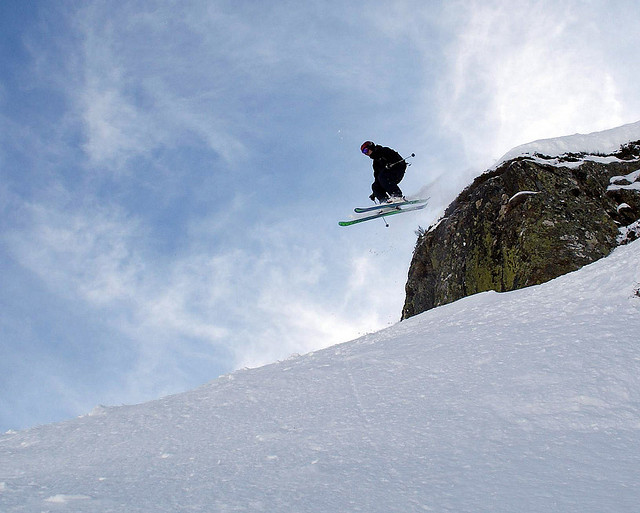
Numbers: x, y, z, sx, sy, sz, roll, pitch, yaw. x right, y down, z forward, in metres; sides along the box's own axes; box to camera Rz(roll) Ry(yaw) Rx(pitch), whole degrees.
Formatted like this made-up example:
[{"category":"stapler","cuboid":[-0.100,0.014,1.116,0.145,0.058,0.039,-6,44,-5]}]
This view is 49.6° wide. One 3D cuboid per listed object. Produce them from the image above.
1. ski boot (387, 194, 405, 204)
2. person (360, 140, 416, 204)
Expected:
[{"category":"ski boot","cuboid":[1.986,-1.560,18.850,0.671,0.239,0.212,-2,8,-24]},{"category":"person","cuboid":[1.797,-2.370,19.284,0.748,1.732,1.185,-17,8,-30]}]
